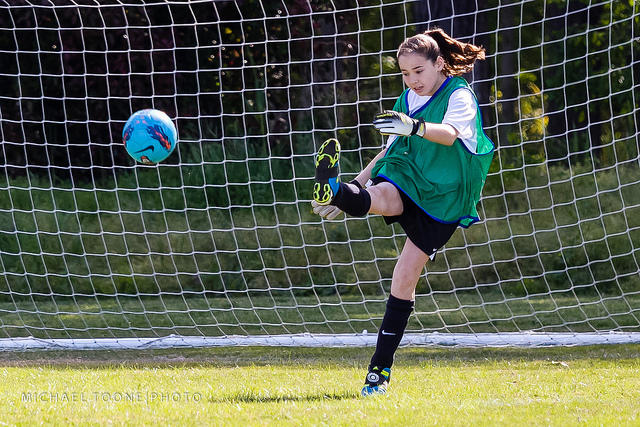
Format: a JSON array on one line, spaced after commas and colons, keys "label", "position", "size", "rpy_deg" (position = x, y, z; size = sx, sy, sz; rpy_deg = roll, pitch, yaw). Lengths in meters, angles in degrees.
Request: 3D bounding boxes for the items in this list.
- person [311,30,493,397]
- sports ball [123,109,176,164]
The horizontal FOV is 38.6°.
[{"label": "person", "position": [0.836, -0.017, 8.407], "size": [1.502, 3.246, 0.572], "rpy_deg": [-6, 10, -27]}, {"label": "sports ball", "position": [-1.754, -0.785, 9.336], "size": [0.503, 0.624, 0.540], "rpy_deg": [-1, 13, 0]}]
